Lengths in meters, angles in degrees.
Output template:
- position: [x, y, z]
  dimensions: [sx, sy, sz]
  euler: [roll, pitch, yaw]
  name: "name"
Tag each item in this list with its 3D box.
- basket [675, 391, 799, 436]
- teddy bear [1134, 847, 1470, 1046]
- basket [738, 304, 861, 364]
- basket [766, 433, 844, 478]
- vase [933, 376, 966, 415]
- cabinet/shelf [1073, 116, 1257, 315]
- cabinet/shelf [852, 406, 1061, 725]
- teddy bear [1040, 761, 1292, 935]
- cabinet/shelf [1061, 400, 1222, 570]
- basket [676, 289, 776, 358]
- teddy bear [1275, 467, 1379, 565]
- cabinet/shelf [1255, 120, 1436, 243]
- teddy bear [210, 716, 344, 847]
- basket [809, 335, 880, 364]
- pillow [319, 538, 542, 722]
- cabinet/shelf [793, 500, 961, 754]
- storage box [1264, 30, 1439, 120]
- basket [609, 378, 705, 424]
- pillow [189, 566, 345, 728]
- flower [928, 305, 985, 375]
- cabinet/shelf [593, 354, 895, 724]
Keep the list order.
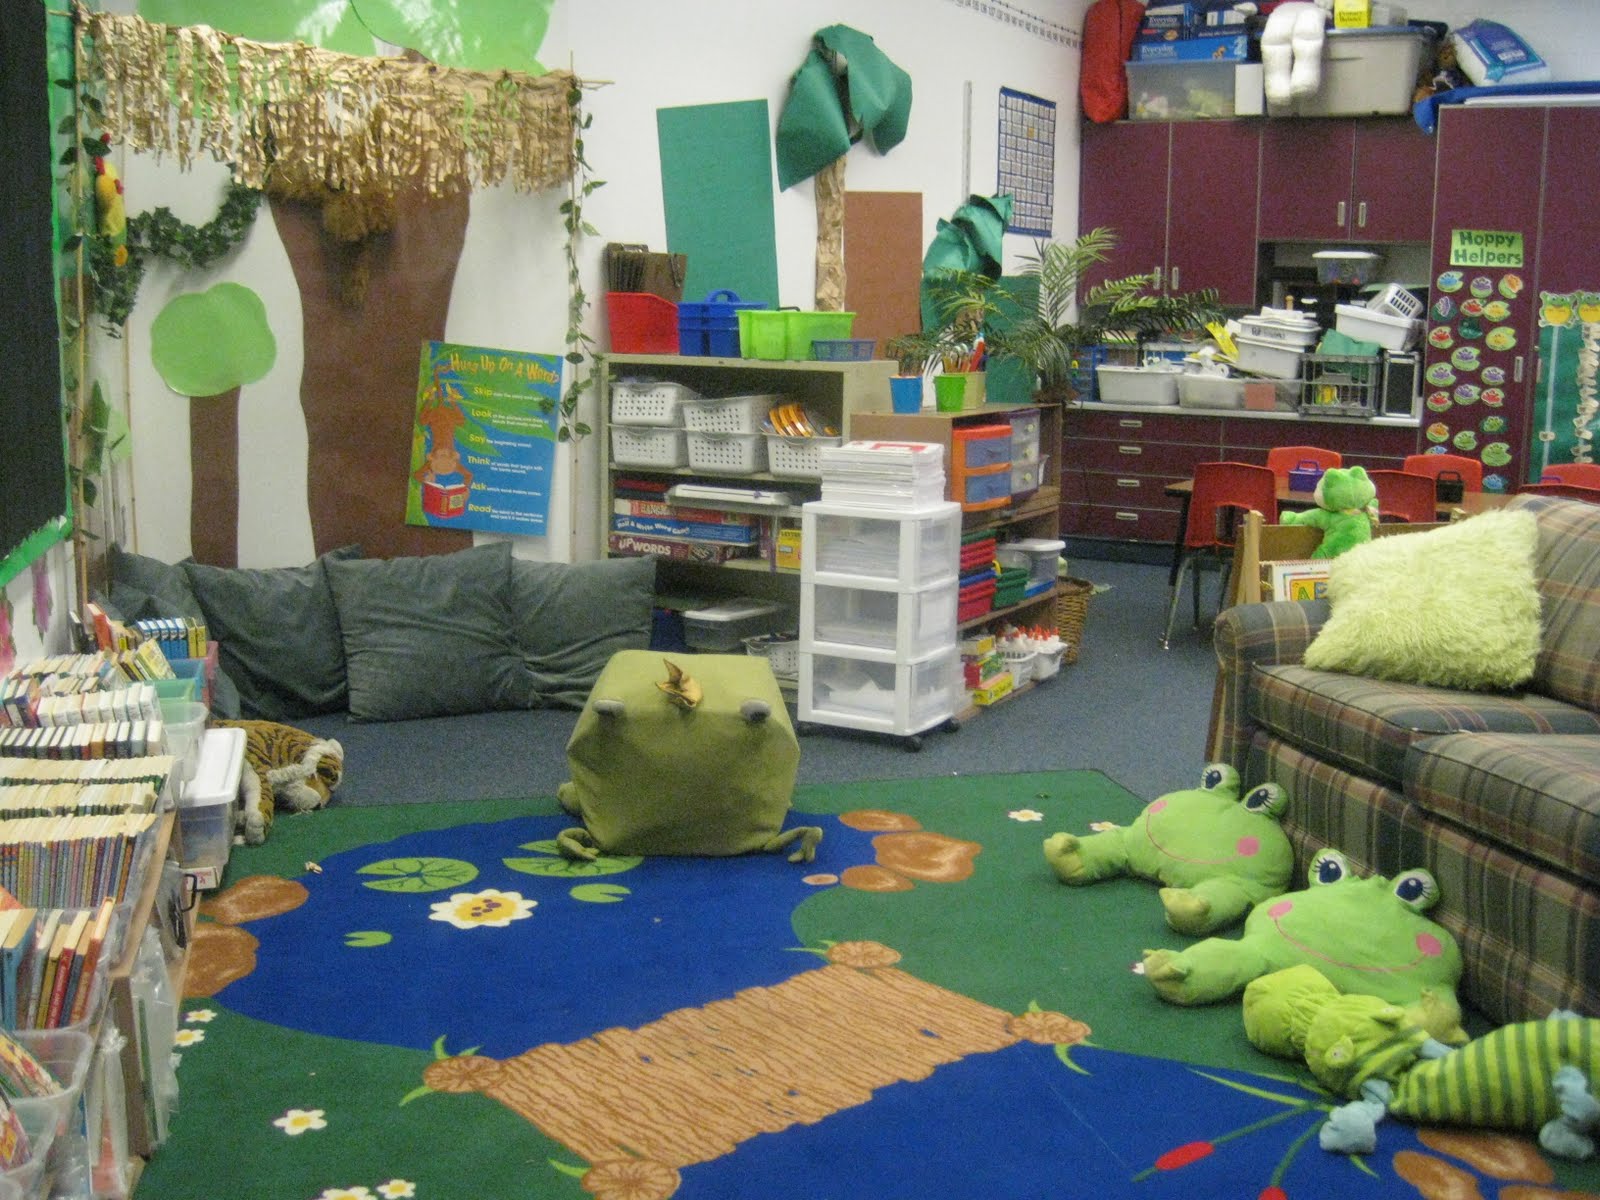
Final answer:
- position: [-0.280, -0.790, 5.467]
  dimensions: [0.281, 0.115, 0.356]
  euler: [0, 3, 12]
  name: "basket"
- position: [1.179, 0.866, 3.085]
  dimensions: [0.761, 0.222, 0.719]
  euler: [-11, 6, 24]
  name: "teddy bear"
- position: [-0.035, -1.113, 5.366]
  dimensions: [0.406, 0.155, 0.255]
  euler: [-7, 15, -32]
  name: "basket"
- position: [-0.011, -0.600, 5.336]
  dimensions: [0.256, 0.102, 0.183]
  euler: [1, 5, 17]
  name: "basket"
- position: [0.622, -0.870, 5.436]
  dimensions: [0.162, 0.131, 0.145]
  euler: [2, 6, 28]
  name: "vase"
- position: [2.607, -2.647, 8.669]
  dimensions: [1.364, 1.165, 0.525]
  euler: [17, 33, 41]
  name: "cabinet/shelf"
- position: [0.602, -0.131, 5.215]
  dimensions: [0.570, 1.082, 1.391]
  euler: [5, 10, 28]
  name: "cabinet/shelf"
- position: [1.091, 0.692, 3.665]
  dimensions: [0.586, 0.200, 0.646]
  euler: [18, 32, 40]
  name: "teddy bear"
- position: [2.110, -0.751, 7.910]
  dimensions: [1.269, 1.020, 0.659]
  euler: [4, 7, 29]
  name: "cabinet/shelf"
- position: [-0.341, -1.182, 5.533]
  dimensions: [0.241, 0.208, 0.349]
  euler: [2, 4, 20]
  name: "basket"
- position: [1.854, -0.297, 4.515]
  dimensions: [0.311, 0.327, 0.238]
  euler: [-7, 13, -14]
  name: "teddy bear"
- position: [3.348, -2.649, 8.199]
  dimensions: [1.277, 0.746, 0.445]
  euler: [-5, 10, -14]
  name: "cabinet/shelf"
- position: [-1.718, 0.581, 4.192]
  dimensions: [0.303, 0.210, 0.451]
  euler: [6, 12, 6]
  name: "teddy bear"
- position: [0.166, -1.039, 5.318]
  dimensions: [0.356, 0.096, 0.324]
  euler: [0, 3, 0]
  name: "basket"
- position: [-1.505, 0.150, 5.189]
  dimensions: [0.776, 0.634, 0.256]
  euler: [-6, -23, -17]
  name: "pillow"
- position: [0.311, 0.068, 5.030]
  dimensions: [0.510, 0.932, 0.458]
  euler: [4, 11, 28]
  name: "cabinet/shelf"
- position: [3.444, -3.250, 8.039]
  dimensions: [0.944, 0.398, 0.667]
  euler: [13, 19, 36]
  name: "storage box"
- position: [-0.666, -0.861, 5.558]
  dimensions: [0.235, 0.110, 0.286]
  euler: [1, 1, 14]
  name: "basket"
- position: [-2.117, 0.141, 5.077]
  dimensions: [0.382, 0.578, 0.714]
  euler: [22, 13, 34]
  name: "pillow"
- position: [0.711, -1.190, 5.851]
  dimensions: [0.267, 0.313, 0.662]
  euler: [-1, 9, 5]
  name: "flower"
- position: [-0.233, -0.272, 5.185]
  dimensions: [1.615, 1.283, 0.586]
  euler: [7, 18, 23]
  name: "cabinet/shelf"
